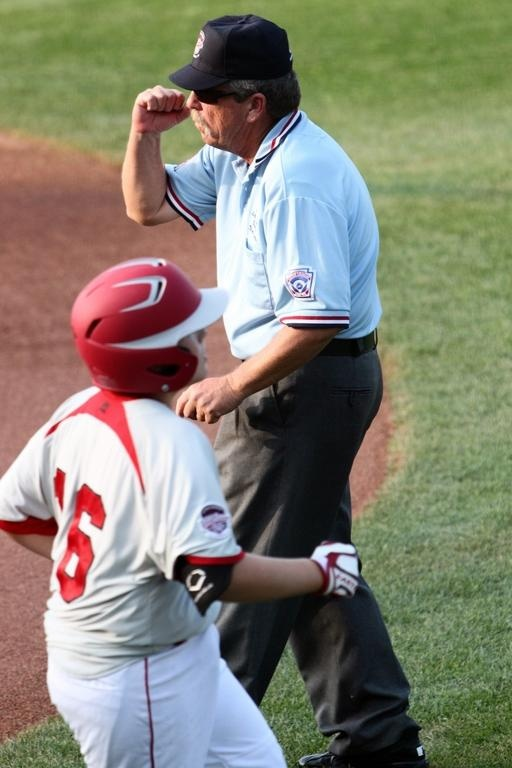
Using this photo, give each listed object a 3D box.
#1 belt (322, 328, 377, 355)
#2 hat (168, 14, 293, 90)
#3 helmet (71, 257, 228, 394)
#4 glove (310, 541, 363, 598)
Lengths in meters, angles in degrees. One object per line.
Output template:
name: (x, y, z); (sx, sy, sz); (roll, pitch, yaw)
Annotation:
belt: (0.283, -0.117, 3.147); (0.101, 0.024, 0.106); (-16, 8, -42)
hat: (-0.082, -1.018, 3.135); (0.394, 0.165, 0.253); (-10, 35, -9)
helmet: (-0.235, -0.141, 2.392); (0.385, 0.278, 0.295); (-13, 19, -33)
glove: (0.184, 0.437, 2.417); (0.102, 0.056, 0.128); (12, 52, -29)
